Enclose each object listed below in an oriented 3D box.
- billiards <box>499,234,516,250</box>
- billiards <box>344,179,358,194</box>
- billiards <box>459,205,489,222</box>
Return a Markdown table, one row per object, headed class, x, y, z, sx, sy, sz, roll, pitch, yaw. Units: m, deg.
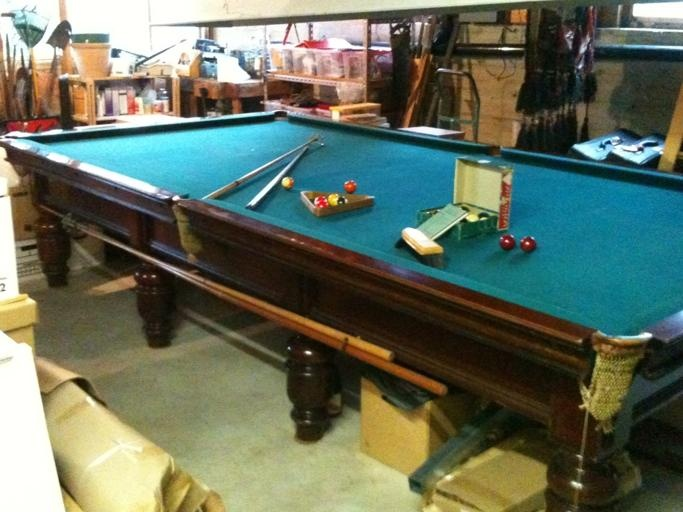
| class | x | y | z | sx | sy | sz | roll | pitch | yaw |
| --- | --- | --- | --- | --- | --- | --- | --- | --- | --- |
| billiards | 0.550 | -0.048 | 1.835 | 0.063 | 0.049 | 0.059 | -1 | -7 | -41 |
| billiards | 0.058 | -0.310 | 2.465 | 0.084 | 0.056 | 0.069 | -2 | 5 | 9 |
| billiards | 0.490 | -0.161 | 2.059 | 0.049 | 0.050 | 0.133 | -32 | 23 | -17 |
